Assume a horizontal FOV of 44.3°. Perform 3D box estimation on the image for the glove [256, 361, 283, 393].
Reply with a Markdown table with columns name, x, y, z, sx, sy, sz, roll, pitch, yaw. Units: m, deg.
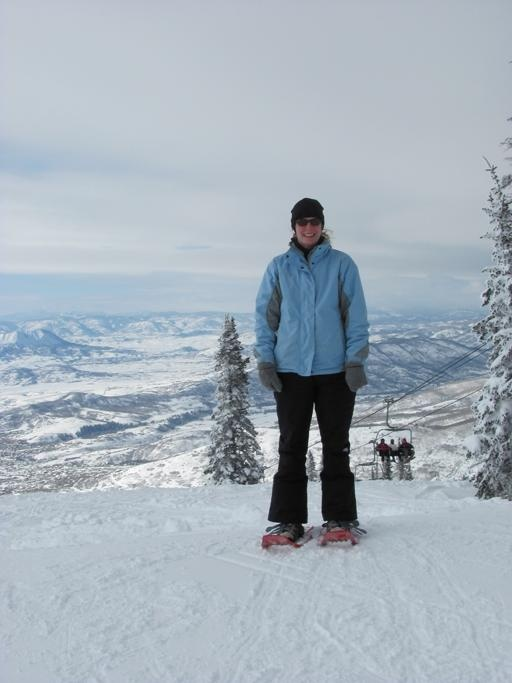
| name | x | y | z | sx | sy | sz | roll | pitch | yaw |
| --- | --- | --- | --- | --- | --- | --- | --- | --- | --- |
| glove | 0.086 | 0.270 | 4.855 | 0.195 | 0.228 | 0.096 | 17 | -45 | -33 |

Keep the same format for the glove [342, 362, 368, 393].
| name | x | y | z | sx | sy | sz | roll | pitch | yaw |
| --- | --- | --- | --- | --- | --- | --- | --- | --- | --- |
| glove | 0.723 | 0.265 | 4.710 | 0.188 | 0.187 | 0.209 | -2 | -14 | 2 |

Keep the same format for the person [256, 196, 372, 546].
| name | x | y | z | sx | sy | sz | roll | pitch | yaw |
| --- | --- | --- | --- | --- | --- | --- | --- | --- | --- |
| person | 0.404 | 0.232 | 4.803 | 0.891 | 2.640 | 0.709 | -1 | 4 | 8 |

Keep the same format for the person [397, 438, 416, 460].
| name | x | y | z | sx | sy | sz | roll | pitch | yaw |
| --- | --- | --- | --- | --- | --- | --- | --- | --- | --- |
| person | 5.727 | 4.131 | 24.251 | 0.703 | 0.806 | 0.345 | -1 | 3 | -2 |

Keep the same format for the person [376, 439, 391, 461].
| name | x | y | z | sx | sy | sz | roll | pitch | yaw |
| --- | --- | --- | --- | --- | --- | --- | --- | --- | --- |
| person | 4.904 | 4.225 | 24.212 | 0.575 | 0.955 | 0.691 | 0 | 4 | 9 |
